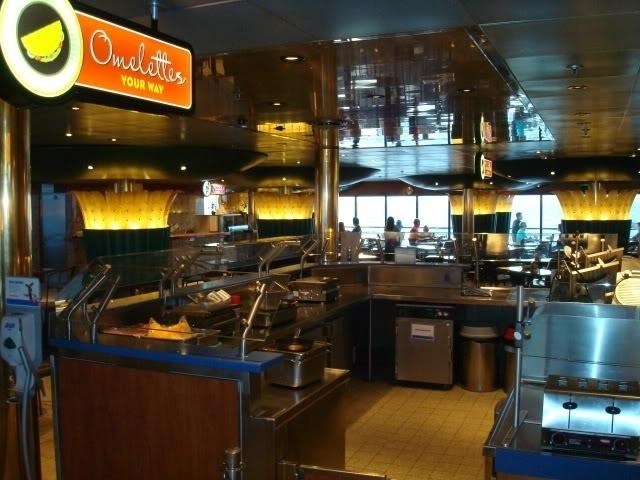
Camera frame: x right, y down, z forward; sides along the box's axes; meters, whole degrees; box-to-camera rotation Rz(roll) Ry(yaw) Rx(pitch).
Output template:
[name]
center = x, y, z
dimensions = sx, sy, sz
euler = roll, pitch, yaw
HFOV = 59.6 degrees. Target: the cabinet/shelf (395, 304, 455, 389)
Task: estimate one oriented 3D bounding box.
[cabinet/shelf]
center = 1.168, 1.157, 6.263
dimensions = 0.638, 0.872, 0.154
euler = 3, 11, 20
